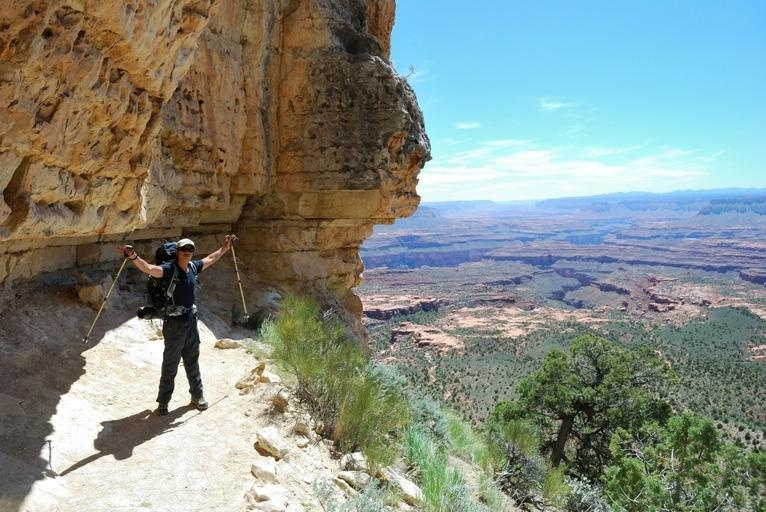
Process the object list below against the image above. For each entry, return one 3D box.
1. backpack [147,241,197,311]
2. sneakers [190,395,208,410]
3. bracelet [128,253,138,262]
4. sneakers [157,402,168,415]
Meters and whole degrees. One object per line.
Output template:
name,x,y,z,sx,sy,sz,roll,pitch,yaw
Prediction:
backpack,-3.062,0.246,6.984,0.401,0.886,0.392,5,11,5
sneakers,-2.547,2.046,7.009,0.309,0.127,0.119,8,8,37
bracelet,-3.254,0.015,6.555,0.140,0.062,0.180,1,-4,-31
sneakers,-2.976,2.056,6.796,0.149,0.158,0.122,-1,12,-21
